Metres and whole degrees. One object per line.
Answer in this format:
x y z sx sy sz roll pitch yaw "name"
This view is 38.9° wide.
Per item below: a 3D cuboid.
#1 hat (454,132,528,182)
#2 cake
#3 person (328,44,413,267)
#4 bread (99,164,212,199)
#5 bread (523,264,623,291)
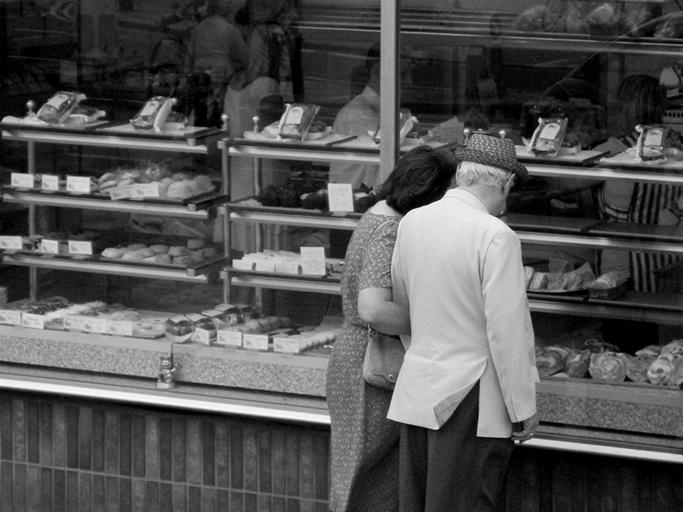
0.579 -0.440 3.871 0.255 0.121 0.257 1 13 -15 "hat"
-0.138 -0.319 5.064 0.451 0.091 0.244 7 16 26 "cake"
0.146 -0.476 4.646 0.417 0.392 1.206 2 -36 0 "person"
-1.049 -0.407 5.331 0.416 0.113 0.290 2 5 7 "bread"
1.144 0.115 4.762 0.317 0.081 0.215 2 3 13 "bread"
